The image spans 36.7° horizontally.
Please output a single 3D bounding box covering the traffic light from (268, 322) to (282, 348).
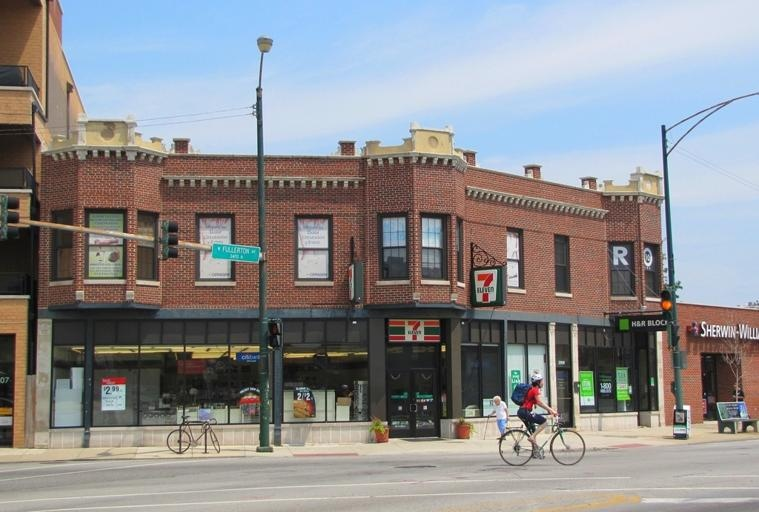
[{"bbox_3d":[-4.186,3.049,45.386,0.553,1.095,0.336,-3,-13,8],"label":"traffic light"}]

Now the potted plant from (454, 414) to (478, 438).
[{"bbox_3d":[3.644,7.401,49.290,0.884,0.644,0.867,1,1,13],"label":"potted plant"}]

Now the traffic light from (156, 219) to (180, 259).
[{"bbox_3d":[-7.787,-0.708,42.191,0.738,1.536,1.326,1,-13,-12],"label":"traffic light"}]

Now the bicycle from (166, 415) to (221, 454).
[{"bbox_3d":[-7.469,7.254,46.111,2.400,1.377,0.907,6,-18,-32],"label":"bicycle"}]

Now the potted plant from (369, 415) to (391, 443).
[{"bbox_3d":[-0.025,7.289,48.058,0.729,1.123,0.679,-1,-13,-2],"label":"potted plant"}]
